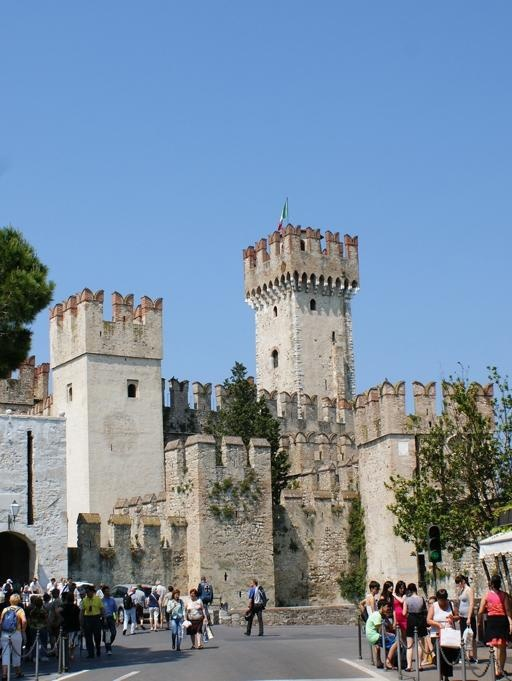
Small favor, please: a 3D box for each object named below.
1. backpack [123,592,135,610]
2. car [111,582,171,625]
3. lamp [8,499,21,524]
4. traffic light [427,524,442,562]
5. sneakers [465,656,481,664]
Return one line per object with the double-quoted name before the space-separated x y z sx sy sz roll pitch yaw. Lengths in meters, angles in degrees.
"backpack" -3.321 6.885 34.022 0.322 0.530 0.508 2 -7 0
"car" -3.188 7.509 36.674 1.142 1.024 2.026 6 -6 -35
"lamp" -7.160 5.122 38.130 0.337 0.631 1.129 -1 6 -4
"traffic light" 3.411 3.849 24.297 0.213 0.720 0.785 -2 -12 5
"sneakers" 3.999 5.762 23.265 0.315 0.157 0.098 12 -9 -24
